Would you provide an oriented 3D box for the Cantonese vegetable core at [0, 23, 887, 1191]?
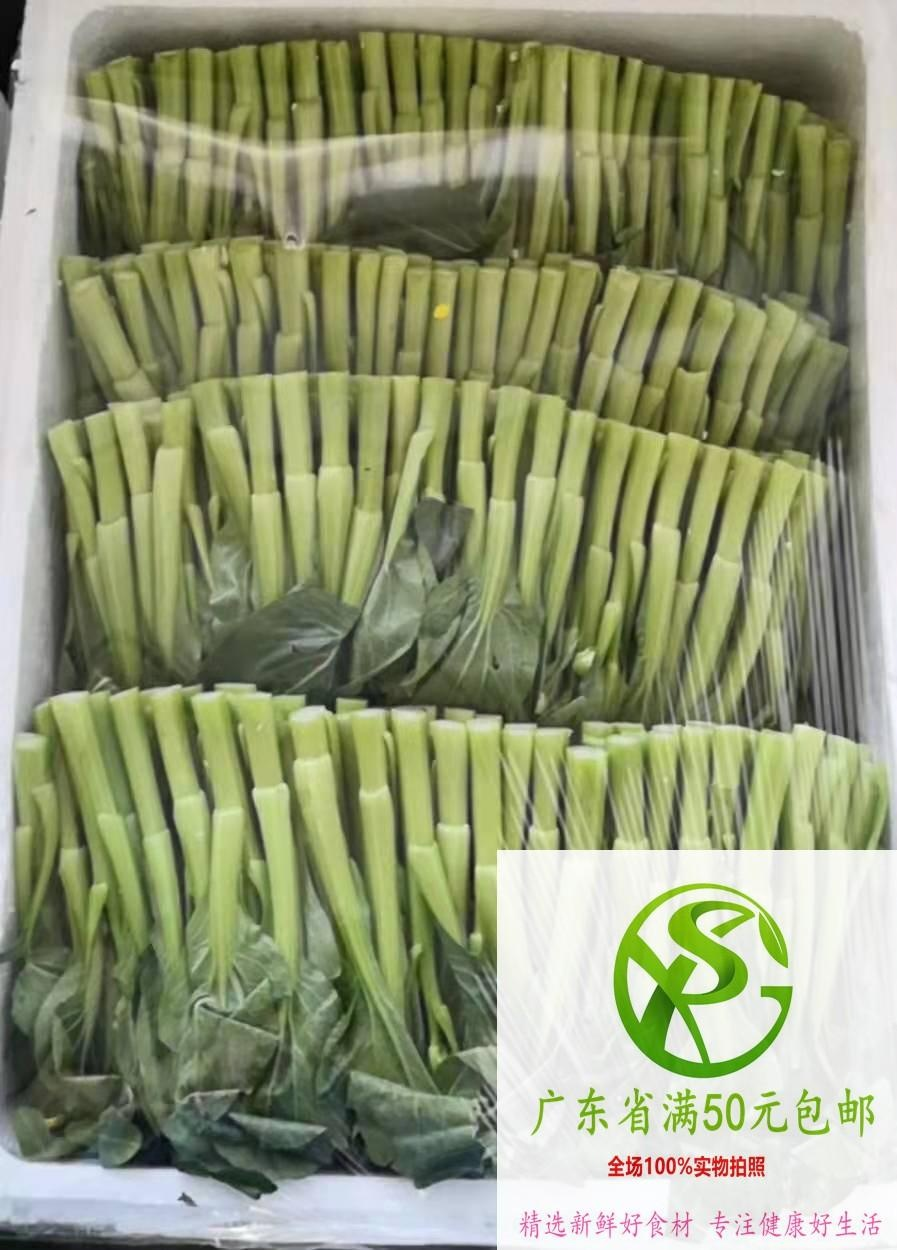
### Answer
[{"bbox_3d":[-0.006,0.015,0.677,0.267,0.629,0.155,0,2,-2],"label":"Cantonese vegetable core"}]
